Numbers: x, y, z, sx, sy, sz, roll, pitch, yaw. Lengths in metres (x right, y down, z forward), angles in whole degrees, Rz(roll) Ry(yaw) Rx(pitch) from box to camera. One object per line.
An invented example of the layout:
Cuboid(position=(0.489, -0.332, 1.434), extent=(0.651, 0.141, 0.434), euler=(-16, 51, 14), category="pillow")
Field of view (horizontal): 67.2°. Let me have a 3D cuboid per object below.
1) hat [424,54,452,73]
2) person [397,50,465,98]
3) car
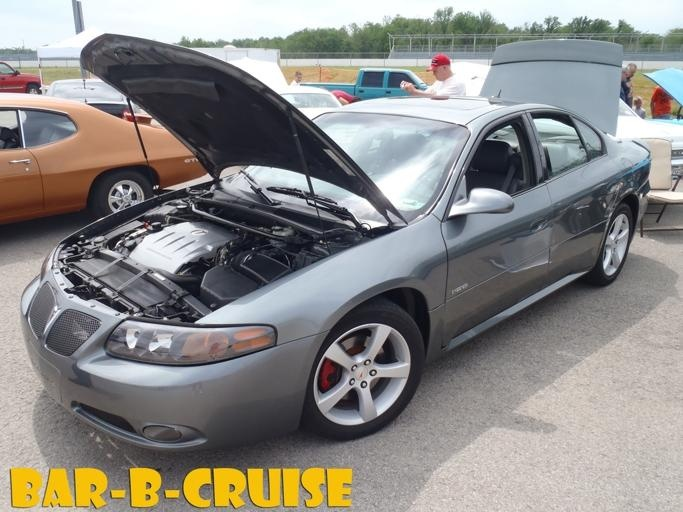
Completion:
Cuboid(position=(1.525, -3.009, 8.037), extent=(0.443, 0.200, 0.227), euler=(-8, 37, 19), category="hat")
Cuboid(position=(1.414, -2.749, 7.963), extent=(1.048, 0.590, 0.678), euler=(-31, 24, -29), category="person")
Cuboid(position=(0.404, -0.282, 3.967), extent=(5.025, 1.585, 2.373), euler=(-13, 23, -29), category="car")
